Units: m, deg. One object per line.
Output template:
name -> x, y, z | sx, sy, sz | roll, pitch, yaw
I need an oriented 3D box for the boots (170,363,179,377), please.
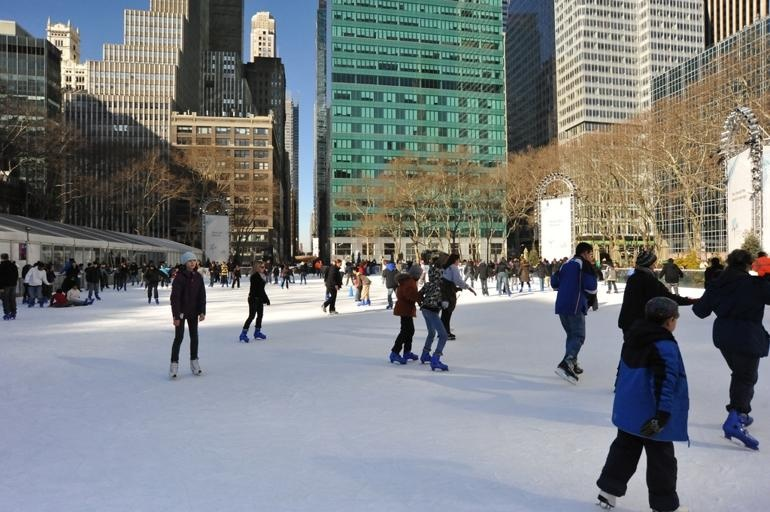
boots -> -13.272, 7.179, 54.961 | 0.531, 0.894, 0.478 | 0, 0, -20

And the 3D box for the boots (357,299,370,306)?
boots -> -1.539, 3.672, 68.937 | 1.093, 0.807, 0.395 | 3, 2, 20

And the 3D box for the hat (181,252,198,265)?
hat -> -12.459, 0.084, 55.279 | 0.810, 1.001, 1.139 | -7, -2, -1

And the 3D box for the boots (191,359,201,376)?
boots -> -11.877, 6.993, 55.122 | 0.678, 1.033, 0.420 | 0, 0, -9
